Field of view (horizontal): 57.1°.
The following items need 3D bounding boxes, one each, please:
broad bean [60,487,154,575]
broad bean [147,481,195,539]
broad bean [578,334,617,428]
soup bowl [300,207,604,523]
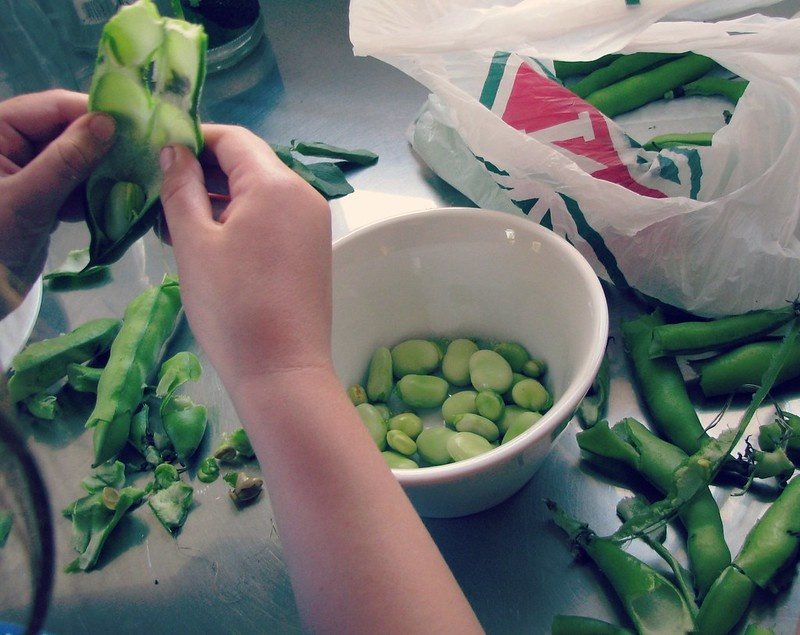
[{"bbox_3d":[-0.318,0.233,0.801,0.075,0.035,0.072,-32,54,-18],"label":"broad bean"},{"bbox_3d":[-0.247,0.198,0.778,0.049,0.018,0.058,21,43,-2],"label":"broad bean"},{"bbox_3d":[0.218,0.066,0.807,0.030,0.036,0.106,-15,38,40],"label":"broad bean"},{"bbox_3d":[0.057,0.090,0.825,0.271,0.198,0.311,-17,60,-6],"label":"soup bowl"}]
